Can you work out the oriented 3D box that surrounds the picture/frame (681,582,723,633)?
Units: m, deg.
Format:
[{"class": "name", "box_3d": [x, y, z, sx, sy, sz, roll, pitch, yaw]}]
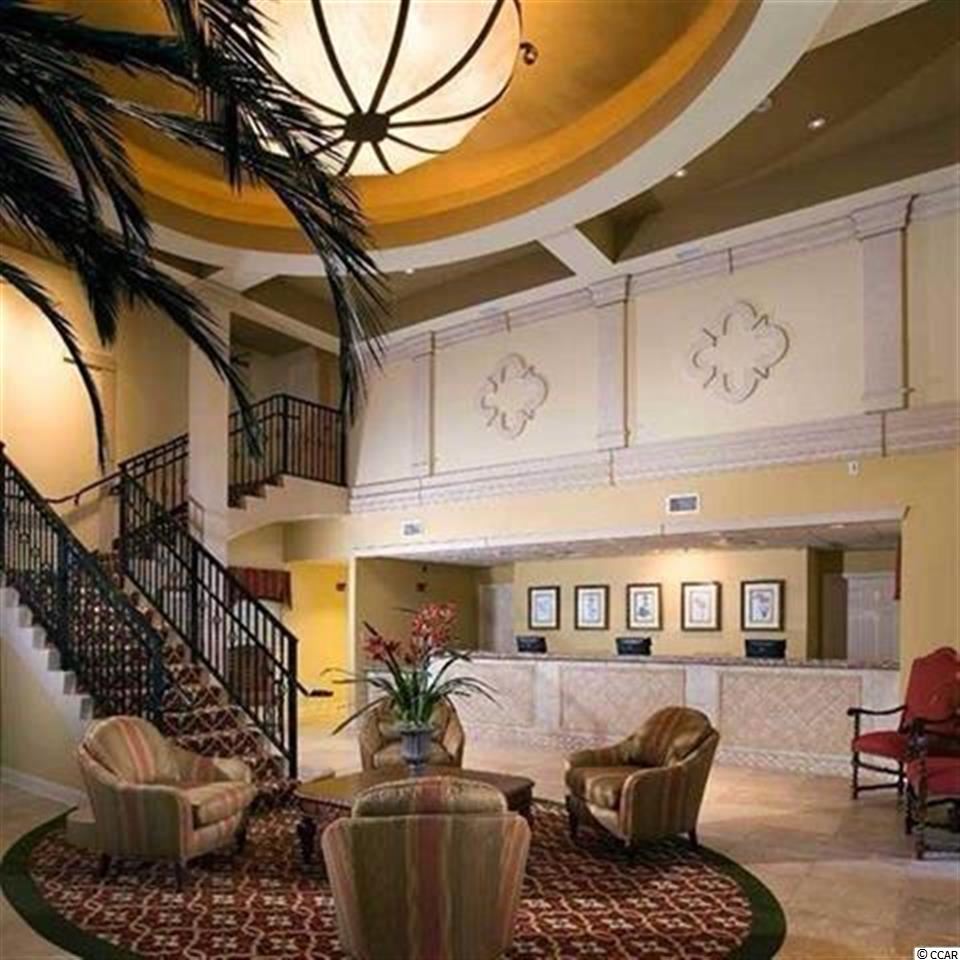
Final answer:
[{"class": "picture/frame", "box_3d": [2.729, 1.558, 10.604, 0.052, 0.730, 0.587, 10, -8, -42]}]

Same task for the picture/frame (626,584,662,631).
[{"class": "picture/frame", "box_3d": [2.103, 1.628, 11.066, 0.046, 0.679, 0.547, 13, -12, -44]}]

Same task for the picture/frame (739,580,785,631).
[{"class": "picture/frame", "box_3d": [3.319, 1.465, 10.138, 0.055, 0.740, 0.568, 9, -8, -43]}]

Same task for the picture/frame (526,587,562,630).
[{"class": "picture/frame", "box_3d": [0.900, 1.776, 11.994, 0.043, 0.588, 0.520, 13, -3, -42]}]

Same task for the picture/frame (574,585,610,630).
[{"class": "picture/frame", "box_3d": [1.502, 1.695, 11.532, 0.048, 0.689, 0.544, 13, -13, -42]}]

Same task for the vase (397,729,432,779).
[{"class": "vase", "box_3d": [-0.384, 1.563, 4.970, 0.162, 0.291, 0.216, -2, -7, 21]}]
